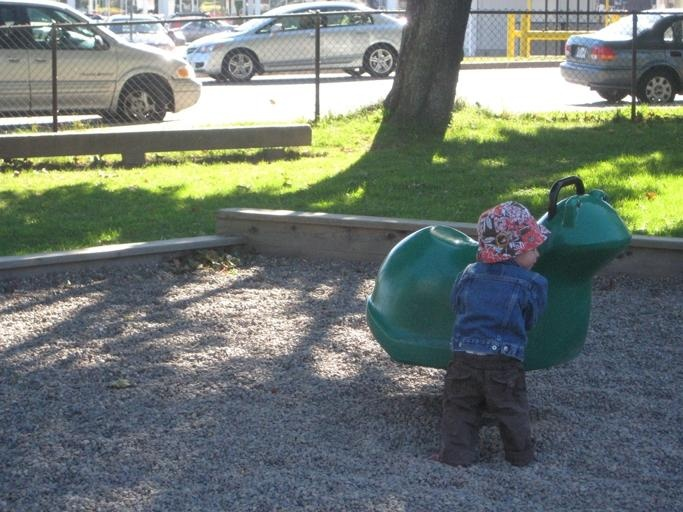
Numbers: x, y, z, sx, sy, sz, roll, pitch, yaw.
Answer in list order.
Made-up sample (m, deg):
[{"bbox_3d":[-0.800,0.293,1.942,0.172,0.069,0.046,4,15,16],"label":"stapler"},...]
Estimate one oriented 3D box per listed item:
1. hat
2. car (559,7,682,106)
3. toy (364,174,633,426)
[{"bbox_3d":[1.098,-0.176,7.292,0.409,0.237,0.366,-27,20,-20],"label":"hat"},{"bbox_3d":[4.222,-2.971,16.706,1.769,0.888,1.064,-12,19,-11],"label":"car"},{"bbox_3d":[1.025,0.128,7.518,1.545,1.282,1.166,5,10,14],"label":"toy"}]
